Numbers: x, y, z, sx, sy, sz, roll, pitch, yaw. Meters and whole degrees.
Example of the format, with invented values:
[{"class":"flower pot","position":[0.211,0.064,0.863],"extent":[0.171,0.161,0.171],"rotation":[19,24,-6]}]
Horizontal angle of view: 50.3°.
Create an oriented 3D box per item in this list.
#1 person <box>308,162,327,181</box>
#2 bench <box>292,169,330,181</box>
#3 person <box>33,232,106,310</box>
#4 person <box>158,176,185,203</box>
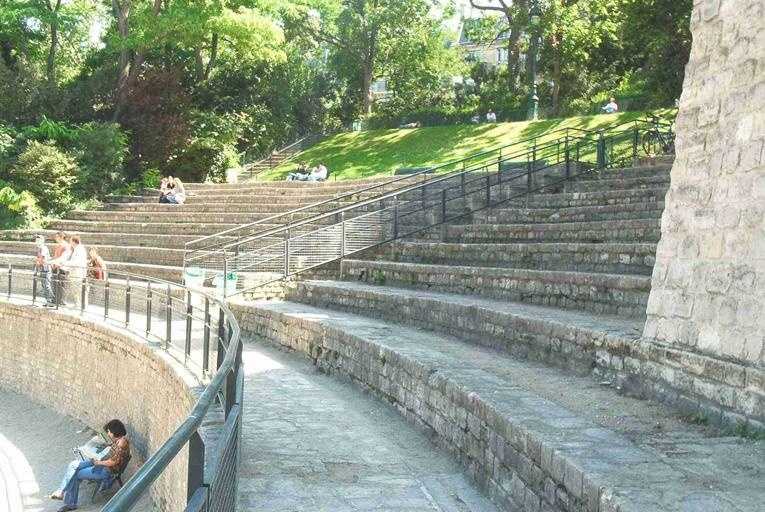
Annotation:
[{"class":"person","position":[-2.625,-3.385,32.784],"extent":[0.757,0.560,1.277],"rotation":[22,16,-12]},{"class":"bench","position":[-2.828,-3.127,31.724],"extent":[1.096,0.437,0.815],"rotation":[1,0,-2]},{"class":"person","position":[-7.693,0.425,19.930],"extent":[2.140,1.472,0.685],"rotation":[-4,-8,38]},{"class":"person","position":[-7.378,-2.311,28.657],"extent":[1.175,0.941,0.630],"rotation":[5,2,38]}]
